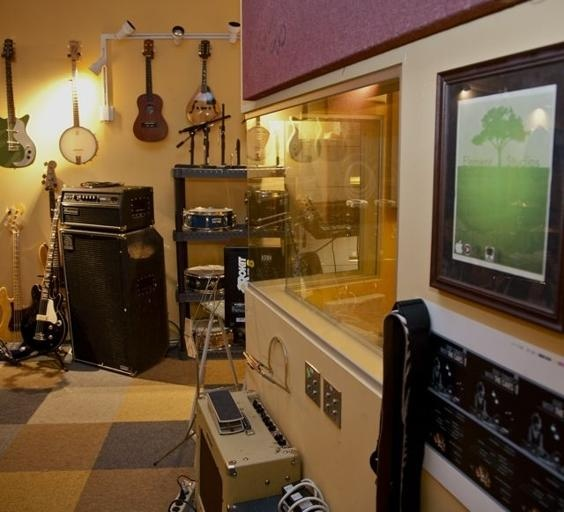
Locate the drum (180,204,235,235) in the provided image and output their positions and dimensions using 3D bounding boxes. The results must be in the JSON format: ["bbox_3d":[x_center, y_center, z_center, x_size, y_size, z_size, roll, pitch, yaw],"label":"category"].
[{"bbox_3d":[-0.545,-0.283,3.651,0.397,0.159,0.218,-2,12,-12],"label":"drum"}]

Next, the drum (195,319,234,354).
[{"bbox_3d":[-0.468,0.553,3.231,0.272,0.226,0.292,-1,8,0],"label":"drum"}]
